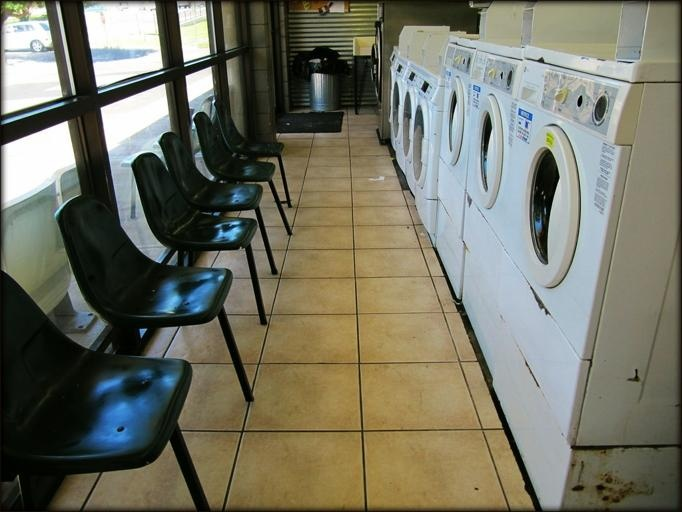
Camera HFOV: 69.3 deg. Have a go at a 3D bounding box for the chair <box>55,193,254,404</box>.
[{"bbox_3d":[-0.647,0.044,2.062,0.661,0.964,0.591,-1,24,-1],"label":"chair"}]

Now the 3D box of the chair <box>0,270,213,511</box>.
[{"bbox_3d":[-0.705,0.420,1.467,0.505,0.681,0.497,-8,27,-16],"label":"chair"}]

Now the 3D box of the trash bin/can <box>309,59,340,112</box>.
[{"bbox_3d":[-0.252,-2.724,7.839,0.452,0.804,0.309,-2,26,-5],"label":"trash bin/can"}]

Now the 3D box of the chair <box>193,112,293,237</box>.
[{"bbox_3d":[-0.566,-0.786,3.786,0.771,1.166,0.715,-2,36,-1],"label":"chair"}]
